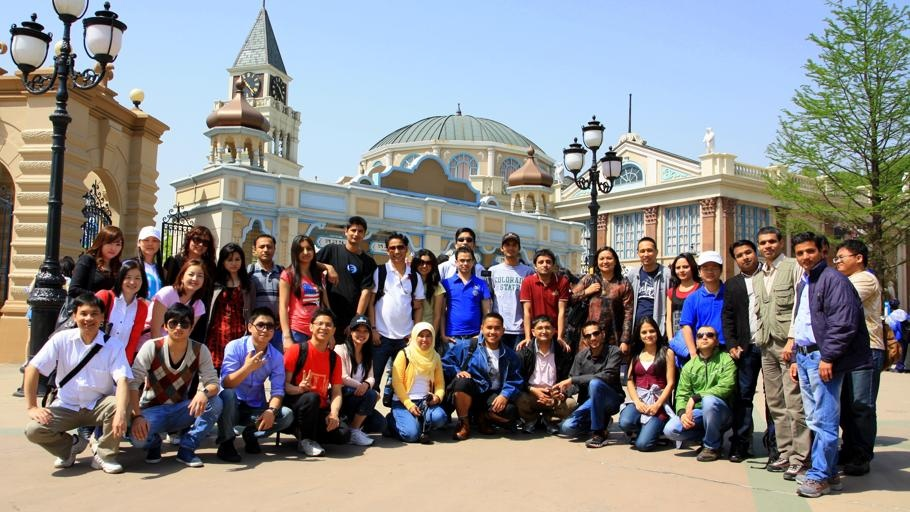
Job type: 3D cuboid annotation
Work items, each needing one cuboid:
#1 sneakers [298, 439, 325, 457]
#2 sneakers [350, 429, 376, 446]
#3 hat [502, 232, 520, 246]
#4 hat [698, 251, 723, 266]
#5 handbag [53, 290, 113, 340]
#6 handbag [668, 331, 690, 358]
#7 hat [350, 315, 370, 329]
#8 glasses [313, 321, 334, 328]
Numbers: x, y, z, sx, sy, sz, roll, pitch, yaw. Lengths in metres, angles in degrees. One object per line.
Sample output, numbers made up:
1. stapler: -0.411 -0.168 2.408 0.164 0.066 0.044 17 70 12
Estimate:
1. sneakers: -2.297 3.065 11.858 0.396 0.161 0.205 1 -1 41
2. sneakers: -1.488 3.026 12.300 0.477 0.187 0.180 3 -5 21
3. hat: 1.037 -0.312 13.744 0.281 0.204 0.379 1 -30 2
4. hat: 4.237 0.054 12.342 0.360 0.190 0.516 1 -7 14
5. handbag: -5.776 0.928 11.529 0.616 0.817 0.441 -14 -44 33
6. handbag: 3.813 1.519 12.536 0.150 0.379 0.392 4 13 -26
7. hat: -1.617 1.092 12.605 0.315 0.216 0.490 5 6 -3
8. glasses: -2.122 1.121 12.007 0.163 0.049 0.160 6 -26 -15
